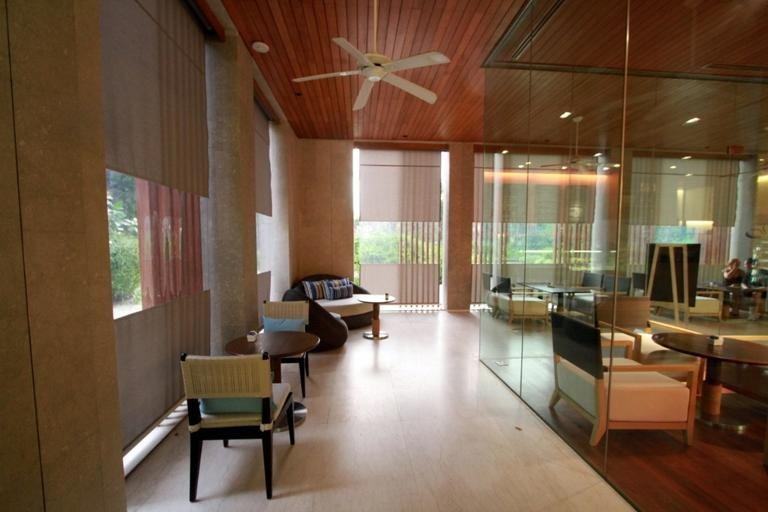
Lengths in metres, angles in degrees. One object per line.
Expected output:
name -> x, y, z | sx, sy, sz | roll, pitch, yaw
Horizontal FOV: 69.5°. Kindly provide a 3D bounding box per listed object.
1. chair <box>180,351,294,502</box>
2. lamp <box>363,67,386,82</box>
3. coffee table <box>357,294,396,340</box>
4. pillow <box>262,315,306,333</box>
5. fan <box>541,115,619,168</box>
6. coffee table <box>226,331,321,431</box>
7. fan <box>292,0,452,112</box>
chair -> -1.156, 1.364, 4.699 | 0.844, 1.086, 1.001 | -4, -4, 16
lamp -> -0.084, -1.623, 4.977 | 0.201, 0.074, 0.302 | -2, 4, -1
coffee table -> -0.151, 0.858, 8.237 | 0.616, 0.582, 0.623 | 4, 8, 35
pillow -> -1.090, 0.717, 5.922 | 0.445, 0.148, 0.225 | -1, 4, 21
fan -> 1.750, -0.936, 4.841 | 0.484, 0.313, 0.474 | 1, -1, 8
coffee table -> -1.067, 1.111, 5.344 | 0.913, 0.636, 0.881 | -1, 2, -13
fan -> -0.133, -1.655, 5.177 | 1.297, 1.180, 1.171 | 6, -14, -12
